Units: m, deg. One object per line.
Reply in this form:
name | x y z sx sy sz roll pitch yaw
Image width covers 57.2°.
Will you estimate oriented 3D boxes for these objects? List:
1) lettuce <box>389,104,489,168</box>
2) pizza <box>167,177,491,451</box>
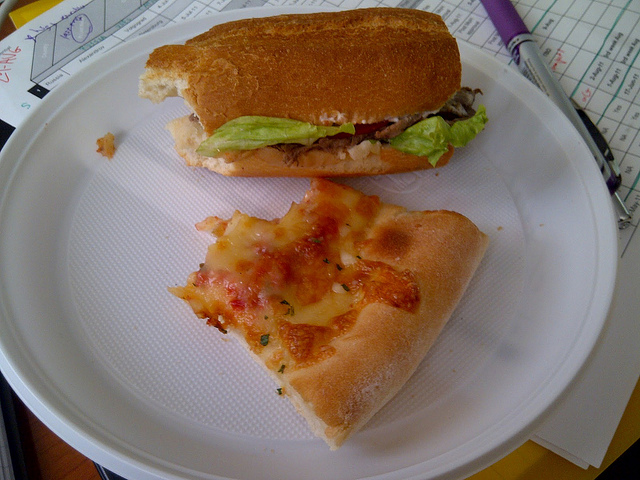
lettuce | 0.555 -0.489 2.755 0.300 0.108 0.329 -19 48 -5
pizza | 0.076 0.113 2.557 1.063 0.321 1.138 38 86 3
